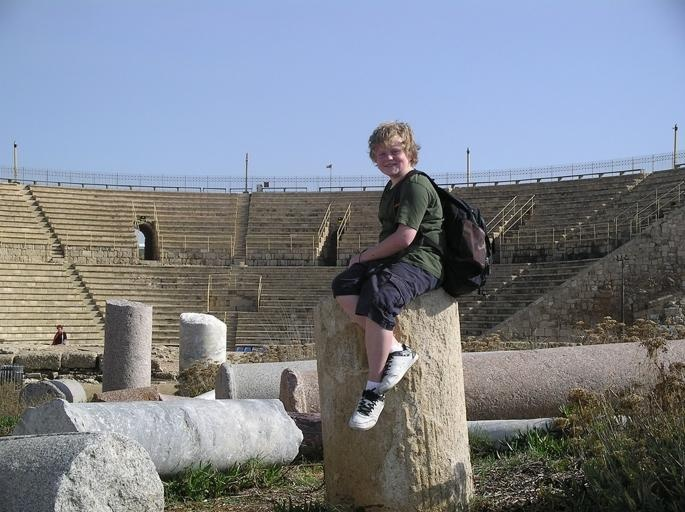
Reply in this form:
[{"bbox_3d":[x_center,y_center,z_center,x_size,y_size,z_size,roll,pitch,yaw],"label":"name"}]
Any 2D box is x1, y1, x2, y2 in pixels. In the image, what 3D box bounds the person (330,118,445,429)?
[{"bbox_3d":[0.654,0.257,16.628,1.420,4.164,0.510,0,-1,3],"label":"person"}]
